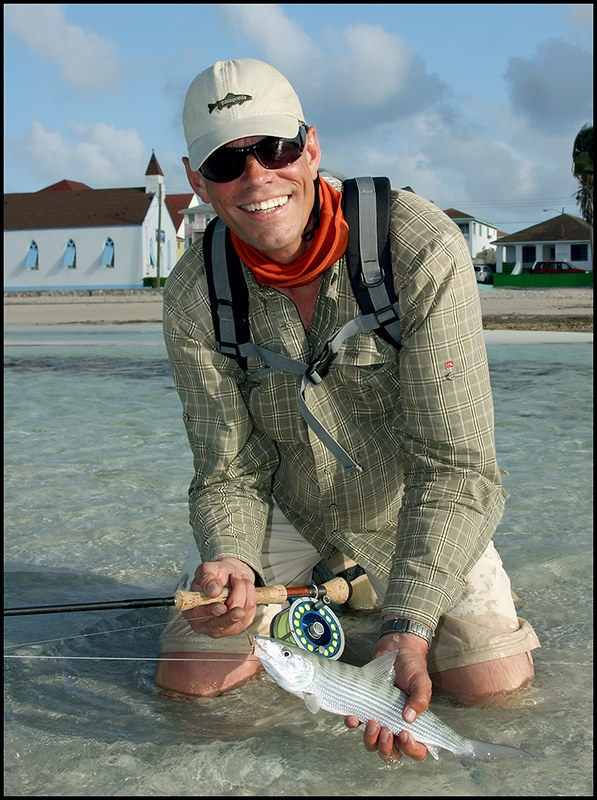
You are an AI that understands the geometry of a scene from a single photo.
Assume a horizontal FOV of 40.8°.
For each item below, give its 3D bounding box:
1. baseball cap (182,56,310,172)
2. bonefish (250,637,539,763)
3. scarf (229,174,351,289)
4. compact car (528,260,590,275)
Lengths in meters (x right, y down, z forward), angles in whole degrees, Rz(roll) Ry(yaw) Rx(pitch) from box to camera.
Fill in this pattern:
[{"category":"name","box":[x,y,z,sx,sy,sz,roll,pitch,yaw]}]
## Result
[{"category":"baseball cap","box":[-0.180,-0.886,2.362,0.371,0.211,0.416,-8,33,7]},{"category":"bonefish","box":[0.262,0.800,2.112,0.773,0.231,0.116,19,-20,4]},{"category":"scarf","box":[-0.049,-0.487,2.411,0.138,0.258,0.217,-23,-14,-5]},{"category":"compact car","box":[12.481,-6.409,39.014,3.220,0.908,1.545,0,7,4]}]
